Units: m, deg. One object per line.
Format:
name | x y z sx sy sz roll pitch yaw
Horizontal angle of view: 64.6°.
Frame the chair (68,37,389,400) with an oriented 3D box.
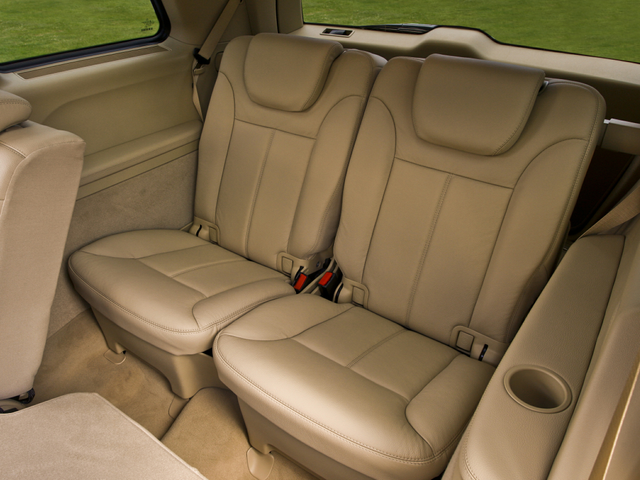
chair | -0.346 -0.129 1.754 0.704 1.096 0.912 18 24 28
